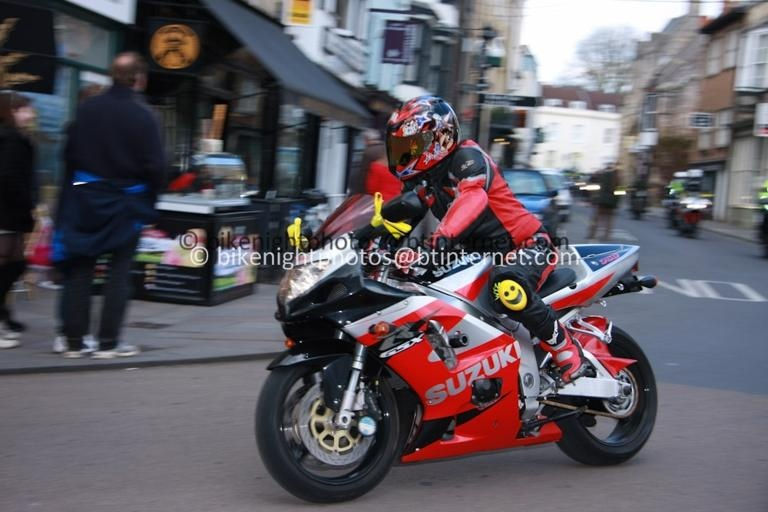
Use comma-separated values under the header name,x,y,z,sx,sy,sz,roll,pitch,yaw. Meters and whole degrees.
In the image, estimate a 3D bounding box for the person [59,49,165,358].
name,x,y,z,sx,sy,sz,roll,pitch,yaw
person,-2.605,-0.483,6.814,1.001,2.857,0.759,-1,13,-20

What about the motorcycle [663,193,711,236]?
name,x,y,z,sx,sy,sz,roll,pitch,yaw
motorcycle,10.013,-1.300,23.655,1.061,1.274,1.925,7,10,18
